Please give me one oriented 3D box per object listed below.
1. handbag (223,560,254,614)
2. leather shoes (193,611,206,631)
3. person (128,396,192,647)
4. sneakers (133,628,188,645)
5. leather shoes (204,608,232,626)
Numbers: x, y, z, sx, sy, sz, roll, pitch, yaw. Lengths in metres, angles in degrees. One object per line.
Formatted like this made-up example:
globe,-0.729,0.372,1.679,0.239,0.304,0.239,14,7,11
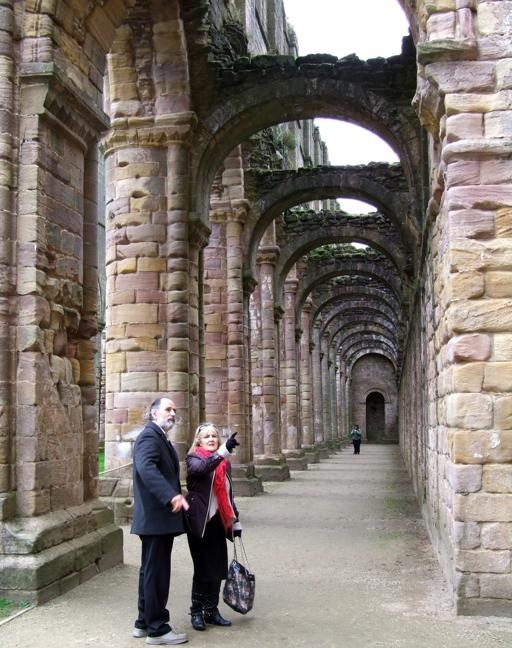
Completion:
handbag,-0.114,1.696,4.569,0.195,0.329,0.187,-2,-7,-4
leather shoes,-0.371,1.948,4.612,0.081,0.093,0.141,-1,-7,-13
person,-0.604,1.207,4.408,0.357,1.469,0.565,-2,-7,-8
sneakers,-0.571,1.873,4.260,0.318,0.124,0.113,1,-11,-2
leather shoes,-0.267,1.972,4.752,0.232,0.136,0.080,-2,-5,4
